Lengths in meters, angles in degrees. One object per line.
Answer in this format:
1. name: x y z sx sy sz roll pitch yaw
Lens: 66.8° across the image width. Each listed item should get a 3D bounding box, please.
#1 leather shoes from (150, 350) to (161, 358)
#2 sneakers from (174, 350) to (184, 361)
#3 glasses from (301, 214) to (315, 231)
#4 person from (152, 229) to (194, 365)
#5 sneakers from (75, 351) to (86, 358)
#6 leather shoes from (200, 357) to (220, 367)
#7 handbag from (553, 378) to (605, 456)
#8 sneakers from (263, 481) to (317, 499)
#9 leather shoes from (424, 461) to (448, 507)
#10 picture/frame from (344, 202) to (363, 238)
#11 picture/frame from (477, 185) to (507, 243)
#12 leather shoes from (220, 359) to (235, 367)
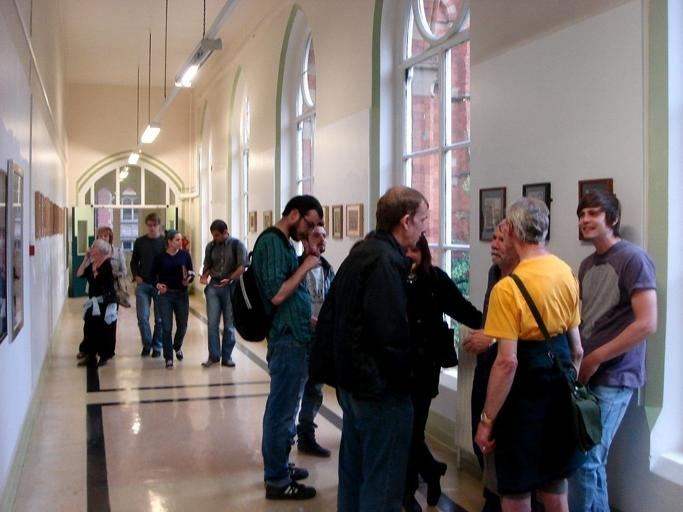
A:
1. leather shoes: -2.814 1.488 7.850 0.120 0.141 0.078 -3 -5 13
2. sneakers: -2.376 1.441 7.573 0.078 0.102 0.236 0 4 -3
3. glasses: -0.224 -0.227 3.489 0.026 0.098 0.087 -13 -18 26
4. person: -2.346 0.584 7.173 0.519 1.892 0.654 0 1 -21
5. sneakers: -3.781 1.422 7.493 0.091 0.109 0.253 12 -13 -25
6. leather shoes: -1.846 1.487 7.259 0.286 0.140 0.105 1 -10 -24
7. handbag: 1.133 0.740 2.455 0.203 0.323 0.156 6 -11 -39
8. sneakers: -0.351 1.657 3.717 0.342 0.172 0.136 0 -3 -7
9. leather shoes: 0.631 1.475 3.439 0.149 0.413 0.120 3 11 5
10. picture/frame: 0.150 -0.437 6.195 0.026 0.409 0.370 0 -4 -22
11. picture/frame: 1.117 -0.322 3.824 0.024 0.556 0.388 -1 5 -21
12. leather shoes: -1.586 1.501 7.270 0.214 0.105 0.085 -1 -2 17
